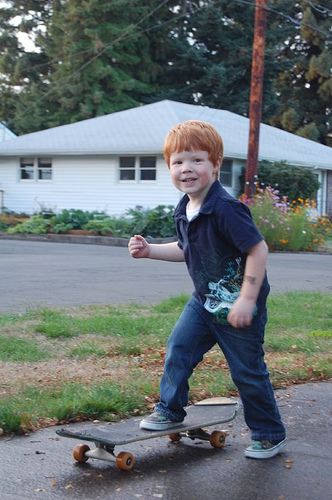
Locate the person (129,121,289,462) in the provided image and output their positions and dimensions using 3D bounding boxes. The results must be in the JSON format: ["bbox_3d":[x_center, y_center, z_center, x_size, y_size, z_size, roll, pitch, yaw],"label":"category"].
[{"bbox_3d":[0.264,0.183,2.600,0.634,1.558,0.447,4,5,15],"label":"person"}]

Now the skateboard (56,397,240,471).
[{"bbox_3d":[0.012,0.830,2.651,0.970,0.178,0.316,-2,4,-41],"label":"skateboard"}]
